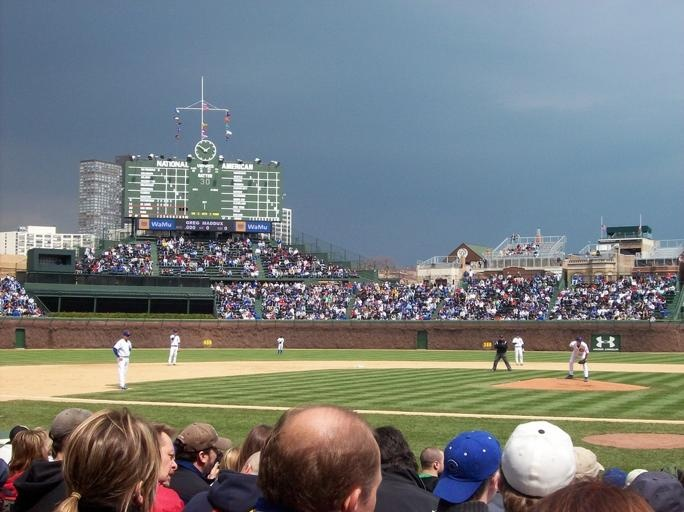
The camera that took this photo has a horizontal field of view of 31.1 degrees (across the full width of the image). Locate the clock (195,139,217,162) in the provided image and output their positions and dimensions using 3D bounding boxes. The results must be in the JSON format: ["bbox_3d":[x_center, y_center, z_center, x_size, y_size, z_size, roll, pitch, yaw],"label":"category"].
[{"bbox_3d":[-9.920,-7.452,87.356,1.330,1.672,0.892,1,-3,-17],"label":"clock"}]

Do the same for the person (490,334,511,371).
[{"bbox_3d":[7.475,4.556,57.978,0.839,1.782,0.592,-4,19,-8],"label":"person"}]

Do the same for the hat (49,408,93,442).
[{"bbox_3d":[-7.737,4.681,34.654,1.151,0.635,0.798,-39,21,-29],"label":"hat"}]

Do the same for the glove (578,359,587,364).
[{"bbox_3d":[10.346,4.616,52.838,0.407,0.183,0.606,1,-1,-7],"label":"glove"}]
